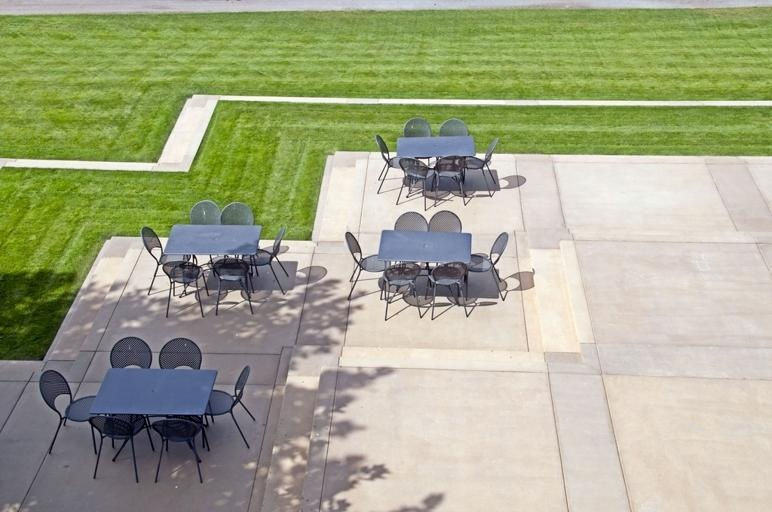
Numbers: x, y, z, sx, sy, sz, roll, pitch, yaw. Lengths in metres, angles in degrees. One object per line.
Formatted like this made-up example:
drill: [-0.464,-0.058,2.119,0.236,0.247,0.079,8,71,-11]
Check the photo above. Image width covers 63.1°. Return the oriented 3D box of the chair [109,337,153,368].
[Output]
chair: [-4.871,1.850,12.005,0.946,0.542,0.836,-4,8,-23]
